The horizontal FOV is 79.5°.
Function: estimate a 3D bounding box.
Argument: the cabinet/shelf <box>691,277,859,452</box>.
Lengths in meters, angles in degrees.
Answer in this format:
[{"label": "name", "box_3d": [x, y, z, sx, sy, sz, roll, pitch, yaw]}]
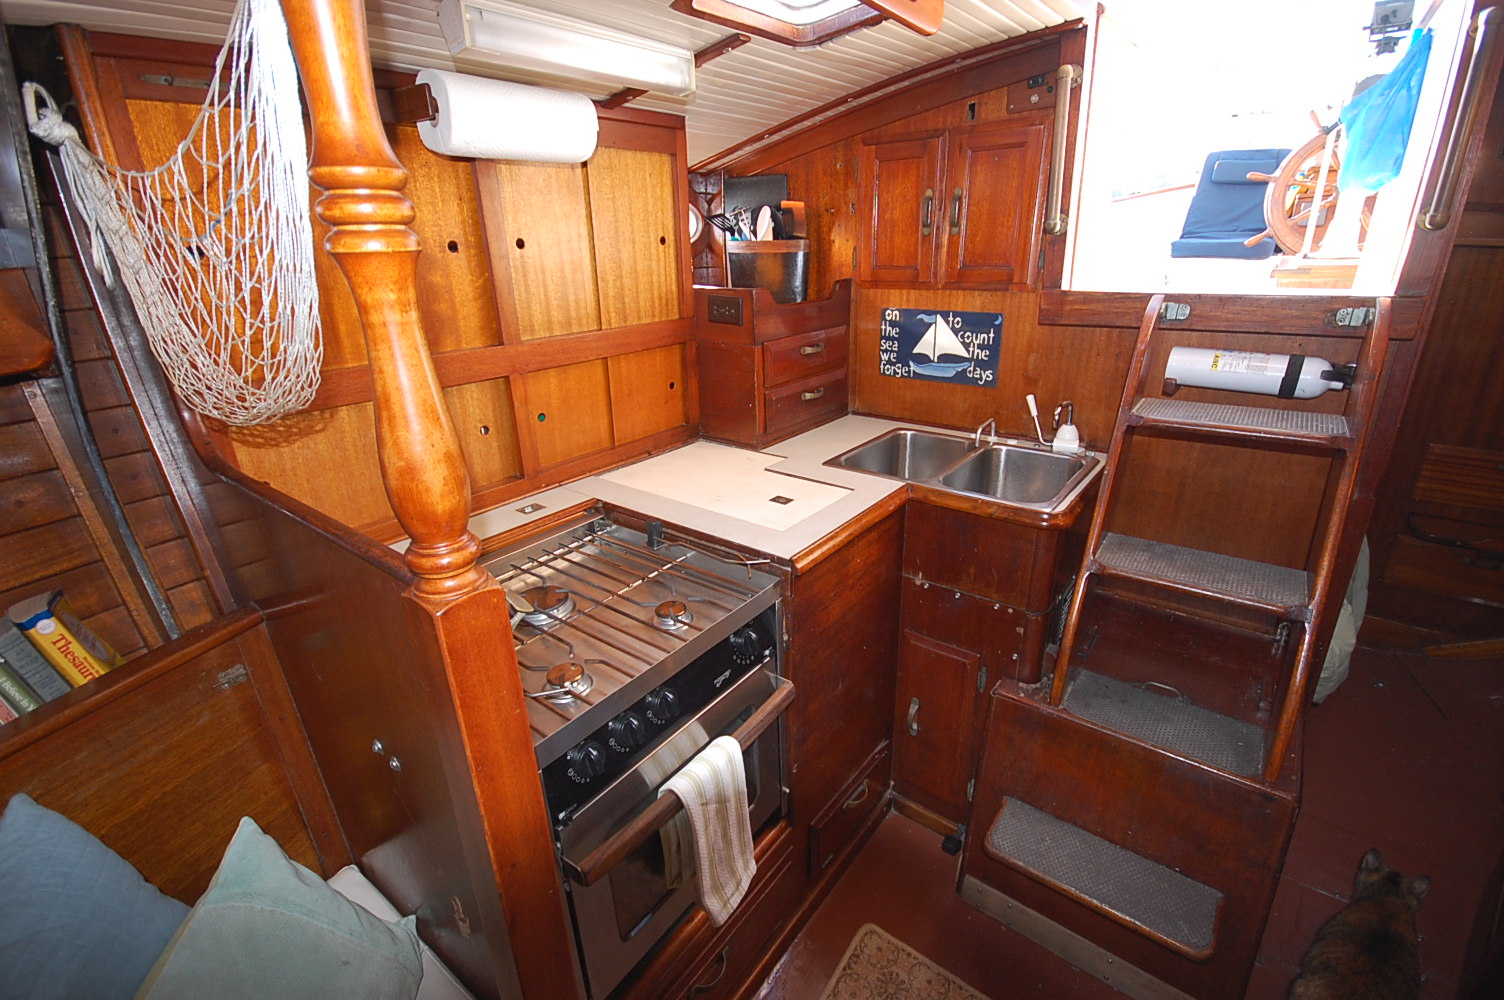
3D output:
[{"label": "cabinet/shelf", "box_3d": [0.066, -0.502, 3.414, 0.312, 0.474, 0.570, 11, 27, 28]}]

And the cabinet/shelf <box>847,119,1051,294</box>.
[{"label": "cabinet/shelf", "box_3d": [0.745, -1.086, 3.302, 0.602, 0.496, 0.269, 13, 36, 29]}]

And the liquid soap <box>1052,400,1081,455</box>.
[{"label": "liquid soap", "box_3d": [1.132, -0.256, 3.250, 0.122, 0.211, 0.107, 4, 33, 22]}]

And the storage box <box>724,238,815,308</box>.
[{"label": "storage box", "box_3d": [0.071, -0.848, 3.358, 0.243, 0.203, 0.274, -4, 20, -4]}]

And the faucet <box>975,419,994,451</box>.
[{"label": "faucet", "box_3d": [0.875, -0.246, 3.397, 0.074, 0.080, 0.151, 9, 23, 23]}]
